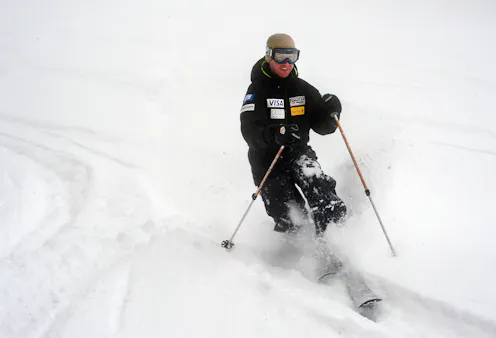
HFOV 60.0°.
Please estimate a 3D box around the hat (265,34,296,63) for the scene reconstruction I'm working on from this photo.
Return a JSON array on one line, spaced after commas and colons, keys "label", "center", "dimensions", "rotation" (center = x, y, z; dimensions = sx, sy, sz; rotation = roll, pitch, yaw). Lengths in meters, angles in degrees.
[{"label": "hat", "center": [0.618, -2.194, 7.829], "dimensions": [0.466, 0.398, 0.472], "rotation": [-15, 18, -37]}]
